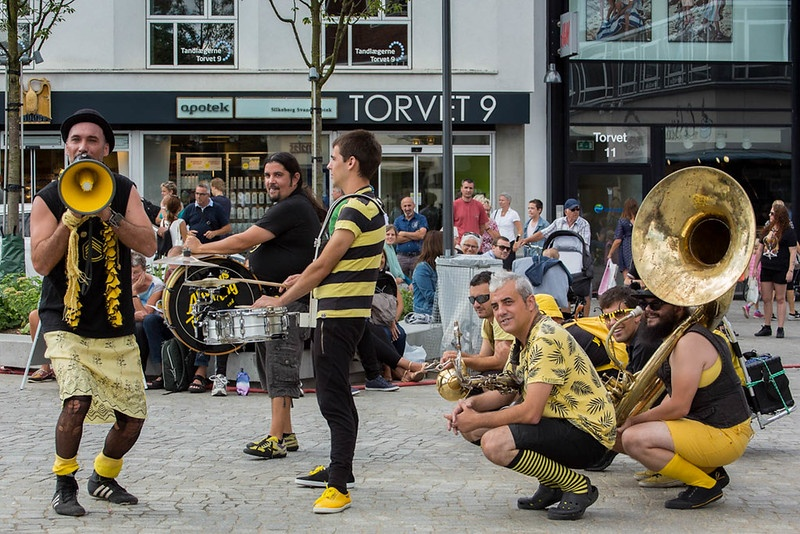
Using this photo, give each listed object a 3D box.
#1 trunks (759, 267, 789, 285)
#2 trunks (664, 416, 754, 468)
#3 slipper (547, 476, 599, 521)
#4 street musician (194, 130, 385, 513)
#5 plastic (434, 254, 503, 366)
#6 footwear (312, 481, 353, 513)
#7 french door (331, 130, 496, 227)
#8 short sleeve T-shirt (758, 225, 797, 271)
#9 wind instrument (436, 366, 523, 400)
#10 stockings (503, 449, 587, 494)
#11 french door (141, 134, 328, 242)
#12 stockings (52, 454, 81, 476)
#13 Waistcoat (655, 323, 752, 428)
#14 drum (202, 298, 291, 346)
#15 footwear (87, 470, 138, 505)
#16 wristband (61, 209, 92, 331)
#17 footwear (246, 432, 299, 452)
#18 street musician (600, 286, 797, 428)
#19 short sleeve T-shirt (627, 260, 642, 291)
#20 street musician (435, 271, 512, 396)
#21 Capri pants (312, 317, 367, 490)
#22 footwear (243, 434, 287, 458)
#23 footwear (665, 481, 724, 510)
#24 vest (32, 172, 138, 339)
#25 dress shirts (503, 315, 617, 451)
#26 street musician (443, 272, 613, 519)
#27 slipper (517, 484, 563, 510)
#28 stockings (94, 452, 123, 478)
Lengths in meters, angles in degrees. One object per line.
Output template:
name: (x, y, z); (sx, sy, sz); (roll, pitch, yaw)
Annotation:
trunks: (5.727, 0.140, 15.963); (0.396, 0.257, 0.257); (-3, -13, 39)
trunks: (2.473, 1.391, 8.323); (0.492, 0.206, 0.474); (1, 0, 14)
slipper: (1.371, 1.822, 8.232); (0.219, 0.213, 0.508); (1, 11, 43)
street musician: (-0.563, 0.393, 8.438); (0.845, 2.959, 1.006); (1, 9, -1)
plastic: (0.836, 0.275, 13.288); (0.737, 0.921, 0.701); (-11, 19, -25)
footwear: (-0.567, 1.838, 8.229); (0.149, 0.136, 0.343); (-5, -7, 38)
french door: (0.221, -1.592, 21.120); (3.374, 2.165, 0.252); (2, 8, 15)
short sleeve T-shirt: (5.803, -0.290, 15.993); (0.689, 0.710, 0.402); (1, -15, 42)
wind instrument: (0.668, 0.948, 8.539); (0.650, 0.301, 0.374); (-6, 12, 35)
stockings: (1.140, 1.622, 8.138); (0.507, 0.159, 0.368); (23, -1, -30)
french door: (-3.317, -1.787, 20.847); (3.957, 2.088, 0.204); (-3, 15, -19)
stockings: (-2.643, 1.553, 8.145); (0.182, 0.111, 0.172); (-2, 3, -1)
Waistcoat: (2.546, 0.805, 8.778); (0.806, 1.029, 0.922); (-9, 2, 16)
drum: (-1.301, 0.475, 9.049); (0.643, 0.218, 0.631); (-5, 4, 0)
footwear: (-2.356, 1.779, 8.439); (0.562, 0.232, 0.174); (9, 0, 8)
wristband: (-2.533, 0.010, 8.021); (0.148, 0.909, 0.136); (6, 10, 27)
footwear: (-1.218, 1.587, 9.461); (0.539, 0.213, 0.174); (2, 7, -20)
street musician: (2.584, 0.756, 8.985); (1.146, 0.939, 1.845); (-15, -31, 10)
short sleeve T-shirt: (2.465, 0.098, 11.001); (0.131, 0.327, 0.244); (-5, -11, 5)
street musician: (0.718, 0.708, 9.489); (0.822, 1.196, 0.636); (-4, -1, -23)
Capri pants: (-0.513, 1.081, 8.328); (0.410, 1.336, 0.433); (0, 9, -4)
footwear: (-1.226, 1.604, 9.358); (0.338, 0.139, 0.185); (3, 1, -9)
footwear: (2.358, 1.843, 8.430); (0.507, 0.180, 0.187); (-5, 0, -8)
vest: (-2.382, -0.058, 7.954); (0.859, 1.205, 0.336); (1, 7, -18)
dress shirts: (1.244, 0.951, 8.241); (0.692, 1.060, 0.975); (-28, 4, 1)
street musician: (1.001, 1.059, 8.492); (1.451, 1.846, 1.464); (-6, -7, 36)
slipper: (1.045, 1.844, 8.364); (0.474, 0.189, 0.151); (-3, -3, 3)
stockings: (-2.362, 1.571, 8.368); (0.219, 0.163, 0.201); (7, -2, 10)
